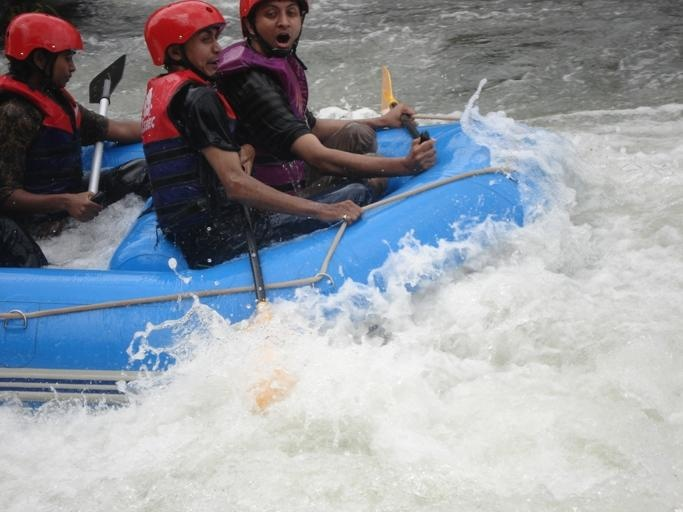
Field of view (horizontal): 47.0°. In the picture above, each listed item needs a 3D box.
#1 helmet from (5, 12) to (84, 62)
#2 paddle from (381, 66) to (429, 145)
[{"bbox_3d":[-1.900,-1.404,5.135,0.484,0.246,0.327,16,12,-20],"label":"helmet"},{"bbox_3d":[0.476,-1.204,6.561,0.076,0.865,0.315,13,73,31],"label":"paddle"}]
